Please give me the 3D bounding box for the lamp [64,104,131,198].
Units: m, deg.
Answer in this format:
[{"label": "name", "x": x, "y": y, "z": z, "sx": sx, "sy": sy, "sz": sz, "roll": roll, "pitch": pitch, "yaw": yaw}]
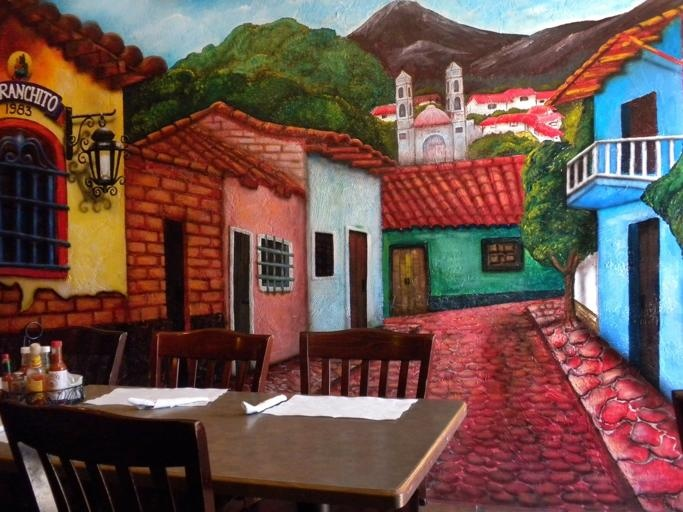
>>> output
[{"label": "lamp", "x": -1.635, "y": -0.687, "z": 4.253, "sx": 0.396, "sy": 0.601, "sz": 0.460, "roll": -5, "pitch": 13, "yaw": -20}]
